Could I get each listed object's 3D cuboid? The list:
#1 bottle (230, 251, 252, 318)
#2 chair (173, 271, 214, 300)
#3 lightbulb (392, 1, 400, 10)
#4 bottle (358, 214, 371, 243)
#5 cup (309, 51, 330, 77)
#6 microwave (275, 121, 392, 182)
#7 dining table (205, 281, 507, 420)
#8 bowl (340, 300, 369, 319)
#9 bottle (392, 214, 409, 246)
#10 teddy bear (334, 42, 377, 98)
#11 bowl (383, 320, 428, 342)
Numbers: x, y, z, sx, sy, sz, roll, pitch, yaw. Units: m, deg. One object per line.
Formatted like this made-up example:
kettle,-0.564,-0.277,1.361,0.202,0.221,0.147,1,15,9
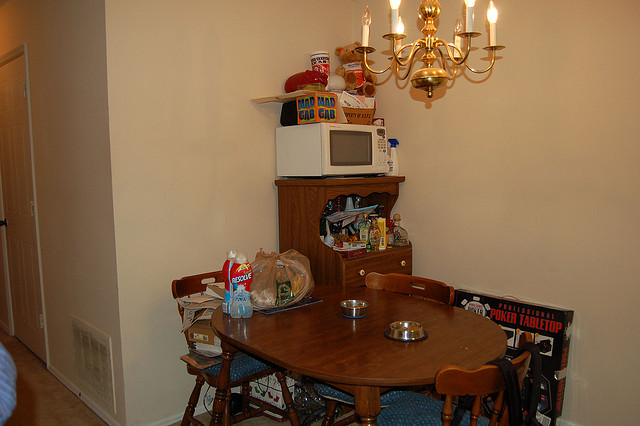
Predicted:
bottle,-0.464,0.392,2.764,0.161,0.412,0.145,1,21,-9
chair,-0.823,0.485,3.125,0.286,0.154,0.111,-11,16,-24
lightbulb,0.382,-1.064,2.420,0.039,0.058,0.036,-5,10,-7
bottle,0.340,0.106,3.733,0.092,0.202,0.152,-2,15,6
cup,0.002,-1.191,3.803,0.179,0.197,0.178,-5,10,1
microwave,0.056,-0.485,3.660,0.498,0.407,0.694,8,13,44
dining table,0.235,0.726,2.599,1.500,0.333,1.014,-6,15,-9
bowl,0.199,0.551,2.767,0.150,0.070,0.166,-2,15,6
bottle,0.655,0.138,3.862,0.137,0.252,0.110,-5,15,-3
teddy bear,0.286,-1.225,4.008,0.343,0.504,0.275,-10,2,1
bowl,0.457,0.614,2.563,0.235,0.055,0.238,-4,15,1
